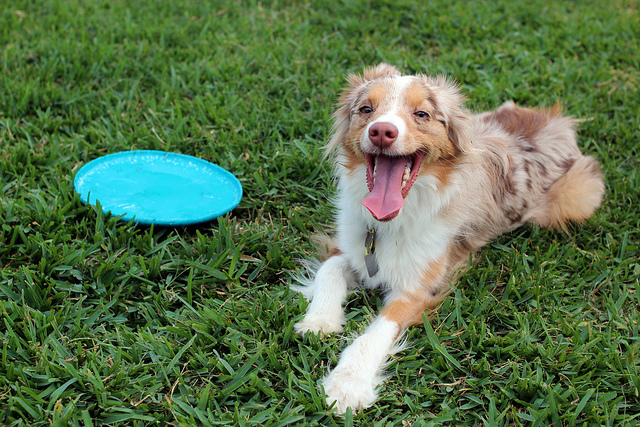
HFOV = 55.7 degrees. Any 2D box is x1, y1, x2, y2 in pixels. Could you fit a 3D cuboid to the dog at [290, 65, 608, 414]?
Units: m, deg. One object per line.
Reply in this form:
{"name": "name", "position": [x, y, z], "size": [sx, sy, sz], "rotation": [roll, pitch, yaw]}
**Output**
{"name": "dog", "position": [1.160, -0.100, 6.118], "size": [3.658, 2.072, 1.748], "rotation": [-22, 46, -33]}
